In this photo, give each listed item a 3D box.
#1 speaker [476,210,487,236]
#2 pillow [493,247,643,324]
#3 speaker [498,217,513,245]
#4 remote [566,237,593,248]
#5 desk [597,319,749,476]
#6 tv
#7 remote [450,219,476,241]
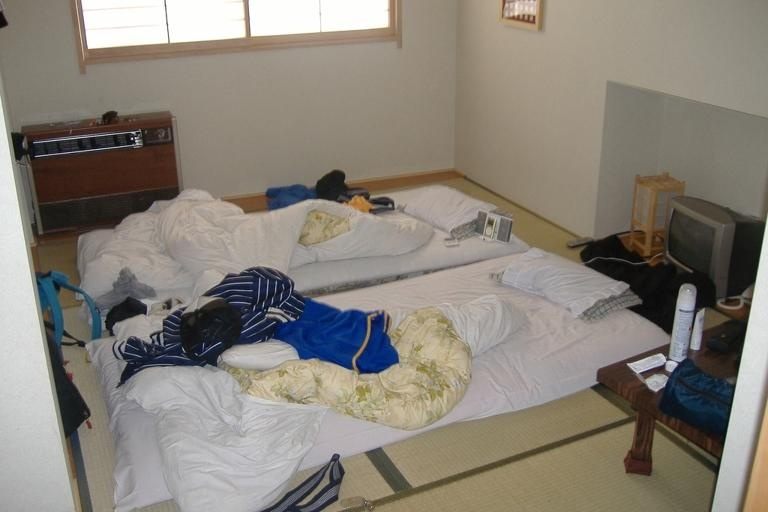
[{"bbox_3d":[0.758,-0.262,4.245,0.087,0.183,0.058,17,29,40],"label":"speaker"},{"bbox_3d":[1.163,0.166,3.485,0.418,0.144,0.637,-23,42,-36],"label":"pillow"},{"bbox_3d":[0.925,-0.197,4.173,0.098,0.190,0.062,0,22,5],"label":"speaker"},{"bbox_3d":[1.714,-0.119,4.753,0.215,0.029,0.094,-12,26,-20],"label":"remote"},{"bbox_3d":[1.260,0.648,2.389,0.753,0.353,0.488,-20,34,-30],"label":"desk"},{"bbox_3d":[2.164,-0.052,3.534,0.417,0.489,0.546,-11,28,-7],"label":"tv"},{"bbox_3d":[0.627,-0.202,4.264,0.161,0.056,0.161,-16,5,34],"label":"remote"}]
